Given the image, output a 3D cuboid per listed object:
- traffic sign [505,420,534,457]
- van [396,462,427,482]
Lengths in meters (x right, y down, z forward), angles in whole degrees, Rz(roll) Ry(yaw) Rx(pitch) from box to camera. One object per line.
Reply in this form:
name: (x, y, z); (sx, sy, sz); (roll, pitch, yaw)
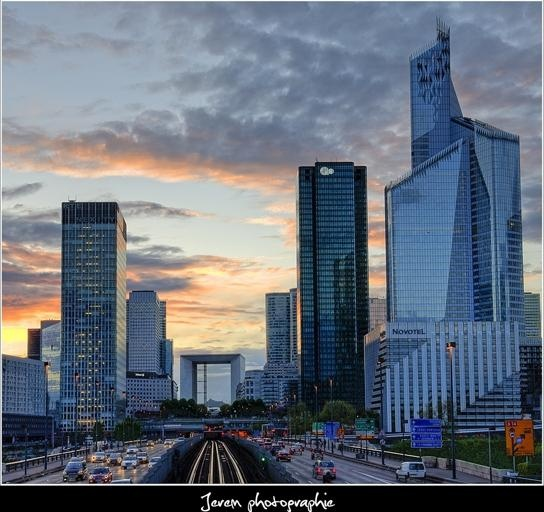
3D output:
traffic sign: (18.516, 13.556, 76.387); (1.872, 2.564, 2.076); (-2, -10, 9)
van: (12.849, 19.886, 93.968); (1.693, 1.472, 2.788); (1, -3, -7)
